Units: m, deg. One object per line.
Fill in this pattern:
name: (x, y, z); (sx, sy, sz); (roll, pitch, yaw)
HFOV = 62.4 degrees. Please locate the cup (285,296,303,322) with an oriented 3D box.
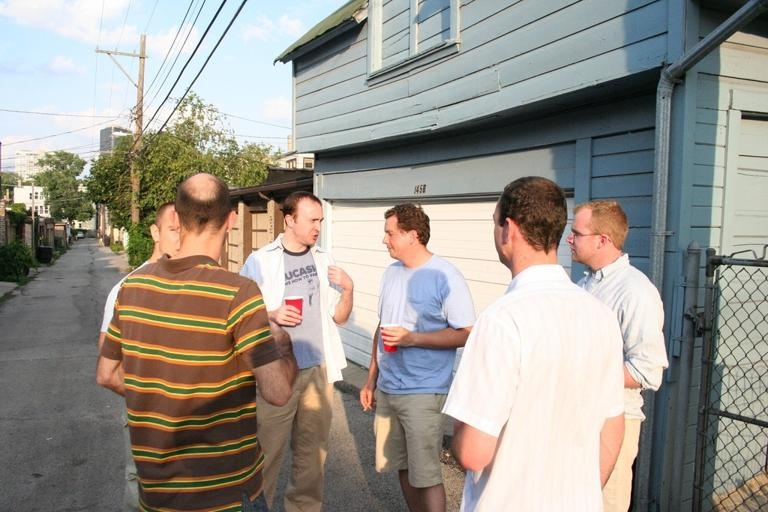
cup: (-0.826, 0.483, 5.772); (0.159, 0.151, 0.156); (-3, 5, 0)

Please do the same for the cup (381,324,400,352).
cup: (0.051, 0.752, 5.769); (0.213, 0.232, 0.222); (0, 4, 0)
